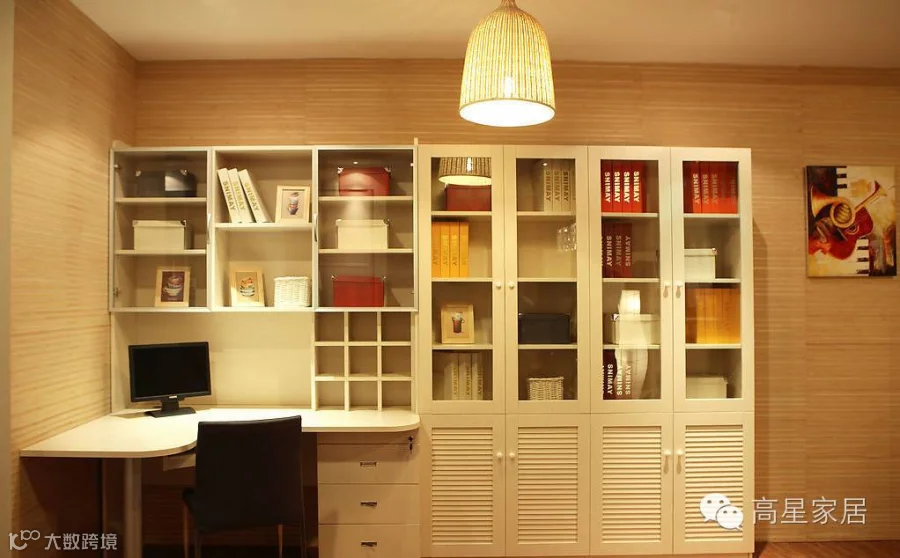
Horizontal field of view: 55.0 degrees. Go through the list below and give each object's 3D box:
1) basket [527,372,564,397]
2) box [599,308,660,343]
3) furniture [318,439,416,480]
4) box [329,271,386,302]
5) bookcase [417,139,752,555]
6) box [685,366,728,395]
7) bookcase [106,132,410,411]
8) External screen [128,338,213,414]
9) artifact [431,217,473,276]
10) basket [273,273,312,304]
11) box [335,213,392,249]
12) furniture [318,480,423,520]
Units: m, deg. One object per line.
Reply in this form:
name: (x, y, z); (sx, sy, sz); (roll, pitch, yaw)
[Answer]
basket: (0.738, 0.812, 6.629); (0.206, 0.145, 0.231); (-1, -6, 5)
box: (1.375, 0.359, 6.663); (0.317, 0.174, 0.302); (0, -2, 1)
furniture: (-0.677, 1.321, 6.656); (0.777, 0.334, 0.422); (1, 8, -16)
box: (-0.678, 0.073, 6.659); (0.431, 0.261, 0.225); (1, 2, 3)
bookcase: (0.937, 0.619, 6.630); (3.494, 3.953, 0.950); (0, -2, -2)
box: (1.979, 0.797, 6.609); (0.279, 0.123, 0.194); (0, -1, 5)
bookcase: (-1.506, -0.019, 6.749); (2.383, 1.977, 0.657); (-1, -3, 0)
External screen: (-2.183, 0.747, 6.696); (0.604, 0.517, 0.191); (-1, -7, -19)
artifact: (0.004, -0.242, 6.915); (0.410, 0.528, 0.400); (0, -2, 1)
basket: (-1.225, 0.076, 6.725); (0.257, 0.170, 0.245); (0, -2, -4)
box: (-0.682, -0.356, 6.576); (0.302, 0.164, 0.287); (0, 0, 1)
furniture: (-0.429, 1.750, 6.718); (0.913, 0.306, 0.677); (-11, -25, 37)
